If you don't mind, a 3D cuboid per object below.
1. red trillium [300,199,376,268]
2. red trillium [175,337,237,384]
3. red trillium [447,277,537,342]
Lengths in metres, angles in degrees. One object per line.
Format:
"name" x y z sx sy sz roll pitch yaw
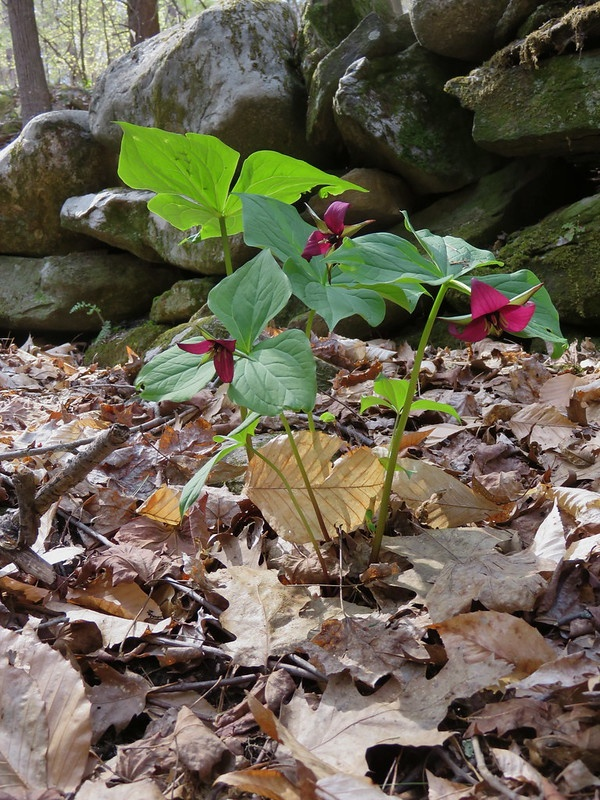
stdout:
"red trillium" 0.095 -0.432 2.042 0.199 0.079 0.181 -43 -7 -47
"red trillium" -0.197 -0.098 1.862 0.115 0.111 0.066 -39 -25 32
"red trillium" 0.463 -0.208 1.880 0.156 0.179 0.108 -61 -5 21
